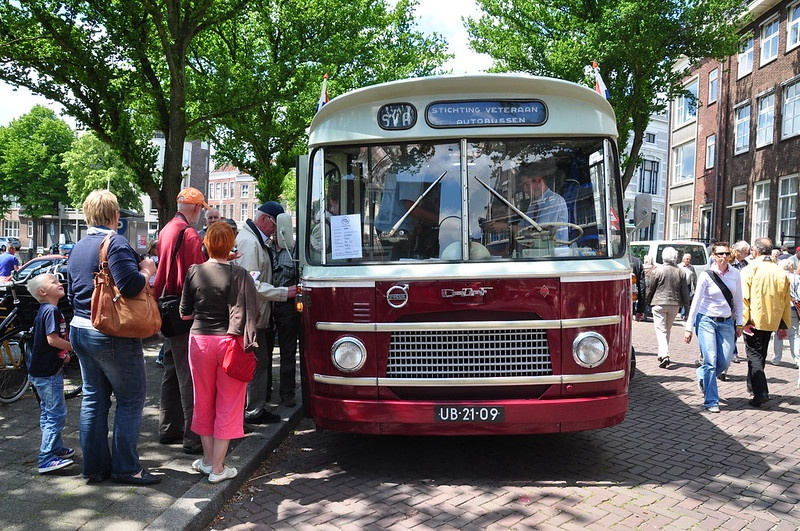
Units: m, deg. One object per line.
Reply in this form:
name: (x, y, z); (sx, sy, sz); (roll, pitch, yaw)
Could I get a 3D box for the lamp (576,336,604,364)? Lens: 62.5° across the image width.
lamp: (2.203, 0.970, 7.753); (0.319, 0.329, 0.319); (-8, 0, -3)

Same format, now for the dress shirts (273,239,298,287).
dress shirts: (-1.650, 0.023, 9.407); (0.401, 0.553, 0.554); (0, -5, -10)

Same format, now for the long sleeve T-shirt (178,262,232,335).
long sleeve T-shirt: (-2.087, 0.353, 7.527); (0.784, 0.786, 0.426); (1, 6, 3)

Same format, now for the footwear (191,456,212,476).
footwear: (-2.255, 2.284, 7.521); (0.132, 0.136, 0.314); (3, 3, -40)

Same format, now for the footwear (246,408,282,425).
footwear: (-1.817, 2.001, 8.869); (0.489, 0.213, 0.174); (-1, 0, -18)

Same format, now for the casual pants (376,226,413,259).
casual pants: (-0.056, -0.269, 7.661); (0.378, 0.373, 0.302); (-3, -3, 5)

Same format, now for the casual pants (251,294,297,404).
casual pants: (-1.641, 1.186, 9.569); (0.352, 1.612, 0.478); (0, 7, -31)

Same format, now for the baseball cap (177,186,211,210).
baseball cap: (-2.535, -0.840, 8.141); (0.249, 0.211, 0.361); (6, 10, 24)

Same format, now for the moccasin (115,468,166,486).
moccasin: (-2.883, 2.347, 7.363); (0.498, 0.204, 0.186); (0, -8, -9)

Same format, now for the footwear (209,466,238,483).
footwear: (-1.984, 2.311, 7.390); (0.131, 0.120, 0.279); (1, 4, 40)

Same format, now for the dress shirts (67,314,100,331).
dress shirts: (-3.447, 0.632, 7.169); (0.177, 0.090, 0.240); (8, -13, -8)

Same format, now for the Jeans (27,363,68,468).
Jeans: (-4.003, 1.781, 7.570); (0.294, 0.974, 0.617); (-4, 12, -28)

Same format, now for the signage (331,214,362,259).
signage: (-0.629, -0.334, 7.917); (0.518, 0.704, 0.051); (-1, 0, 7)

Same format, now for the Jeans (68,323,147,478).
Jeans: (-3.226, 1.398, 7.265); (0.782, 1.991, 0.659); (9, 15, 8)

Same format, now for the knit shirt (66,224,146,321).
knit shirt: (-3.238, 0.086, 7.191); (0.957, 0.973, 0.369); (4, 11, 12)

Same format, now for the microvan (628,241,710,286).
microvan: (8.817, 0.239, 21.294); (1.953, 1.754, 3.225); (0, 5, 8)

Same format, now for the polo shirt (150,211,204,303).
polo shirt: (-2.676, -0.061, 8.097); (0.564, 1.115, 0.818); (-6, 14, -39)

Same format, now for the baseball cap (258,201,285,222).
baseball cap: (-1.790, -0.801, 9.223); (0.402, 0.172, 0.283); (20, 5, -30)

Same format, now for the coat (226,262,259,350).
coat: (-1.742, 0.456, 7.340); (0.323, 0.893, 0.410); (0, 11, -12)

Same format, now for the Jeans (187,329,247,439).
Jeans: (-2.064, 1.347, 7.335); (0.653, 1.150, 0.242); (3, 11, 7)

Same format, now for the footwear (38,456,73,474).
footwear: (-3.826, 2.248, 7.432); (0.432, 0.189, 0.159); (-1, -4, -9)
